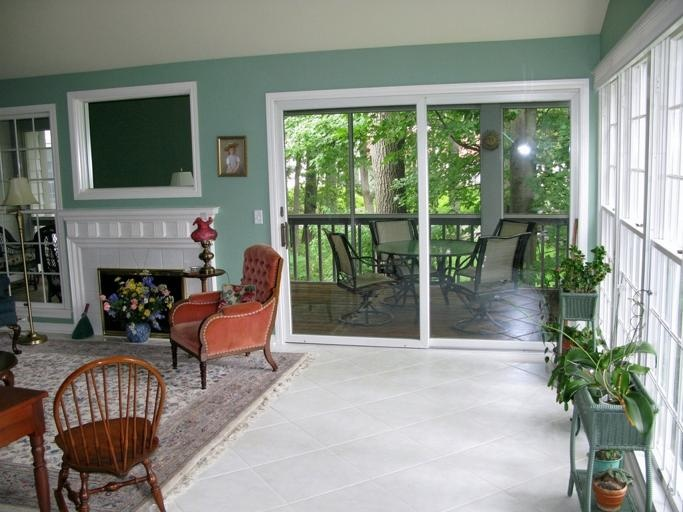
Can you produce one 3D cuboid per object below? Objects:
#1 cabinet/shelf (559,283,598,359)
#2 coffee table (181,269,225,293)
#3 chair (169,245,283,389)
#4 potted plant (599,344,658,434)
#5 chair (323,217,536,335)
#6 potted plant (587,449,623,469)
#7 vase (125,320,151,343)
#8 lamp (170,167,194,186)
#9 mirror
[{"bbox_3d":[1.866,0.447,3.920,0.310,0.345,0.345,8,15,39],"label":"cabinet/shelf"},{"bbox_3d":[-1.458,0.205,5.353,0.337,0.357,0.342,0,7,9],"label":"coffee table"},{"bbox_3d":[-1.251,0.533,5.365,1.317,1.581,1.191,-1,5,-37],"label":"chair"},{"bbox_3d":[1.505,0.671,2.617,0.235,0.196,0.494,-12,17,3],"label":"potted plant"},{"bbox_3d":[1.209,0.200,5.778,1.709,0.812,1.330,1,4,14],"label":"chair"},{"bbox_3d":[1.441,1.096,2.729,0.143,0.095,0.141,-1,-5,-6],"label":"potted plant"},{"bbox_3d":[-2.285,0.862,5.616,0.250,0.192,0.245,-2,6,-22],"label":"vase"},{"bbox_3d":[-1.798,-0.889,5.646,0.220,0.140,0.224,-2,5,-15],"label":"lamp"},{"bbox_3d":[-2.310,-1.370,5.694,1.440,1.167,0.136,-1,7,13],"label":"mirror"}]
